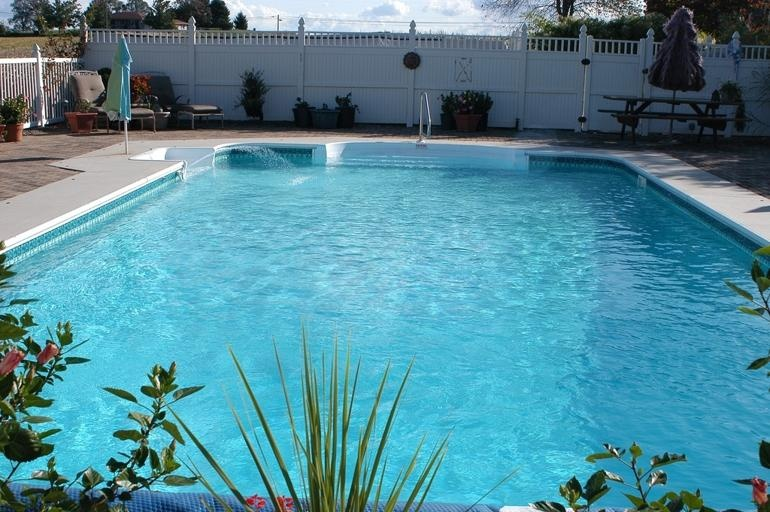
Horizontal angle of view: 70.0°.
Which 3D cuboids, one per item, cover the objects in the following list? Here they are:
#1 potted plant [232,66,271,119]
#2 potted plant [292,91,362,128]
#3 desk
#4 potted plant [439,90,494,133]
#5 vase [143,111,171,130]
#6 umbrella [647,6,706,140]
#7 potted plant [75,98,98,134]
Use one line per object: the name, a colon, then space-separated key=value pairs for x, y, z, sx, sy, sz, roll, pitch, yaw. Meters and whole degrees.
potted plant: x=-4.173 y=-5.067 z=17.316 sx=1.005 sy=1.578 sz=0.587 roll=-1 pitch=16 yaw=-9
potted plant: x=-1.859 y=-4.458 z=16.914 sx=1.933 sy=1.081 sz=1.127 roll=0 pitch=15 yaw=-4
desk: x=7.584 y=-3.675 z=14.524 sx=2.884 sy=0.691 sz=1.362 roll=7 pitch=-2 yaw=13
potted plant: x=2.466 y=-4.368 z=16.688 sx=2.188 sy=1.179 sz=1.408 roll=-1 pitch=11 yaw=-4
vase: x=-6.309 y=-3.740 z=15.192 sx=0.678 sy=0.317 sz=0.584 roll=0 pitch=8 yaw=0
umbrella: x=7.358 y=-5.100 z=13.690 sx=1.224 sy=1.999 sz=0.588 roll=5 pitch=17 yaw=15
potted plant: x=-7.895 y=-3.706 z=14.449 sx=0.506 sy=0.876 sz=1.046 roll=-7 pitch=16 yaw=-26
